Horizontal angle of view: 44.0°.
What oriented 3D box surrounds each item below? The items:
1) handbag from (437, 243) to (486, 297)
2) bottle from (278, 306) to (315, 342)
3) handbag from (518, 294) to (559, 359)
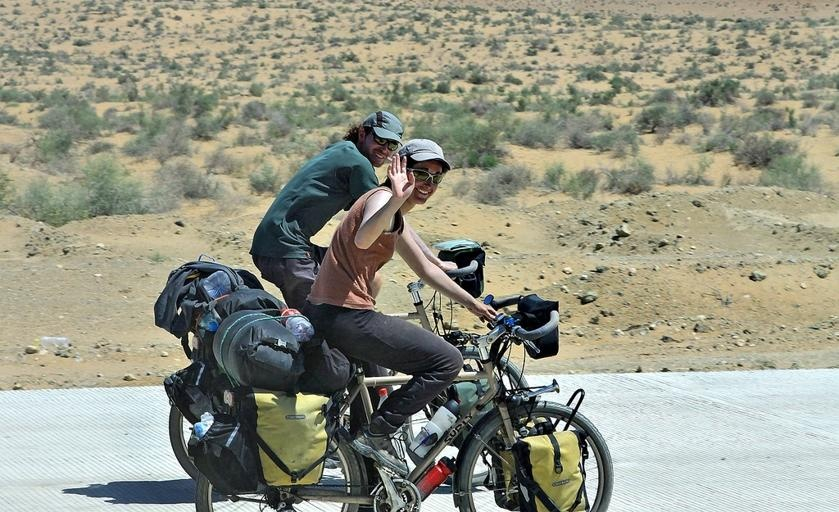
[{"bbox_3d":[0.782,0.182,17.945,1.081,0.915,0.910,5,47,4],"label":"handbag"},{"bbox_3d":[-2.029,1.113,16.909,0.590,0.387,0.468,36,3,41],"label":"bottle"},{"bbox_3d":[1.928,1.128,17.013,0.762,1.005,0.465,8,15,22],"label":"handbag"}]
